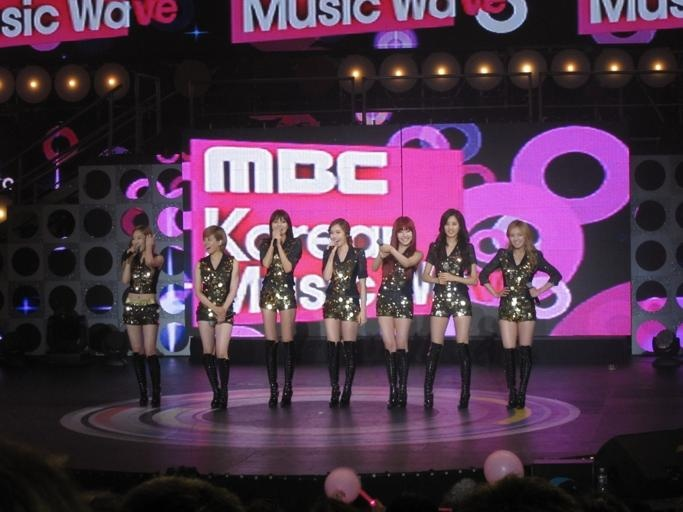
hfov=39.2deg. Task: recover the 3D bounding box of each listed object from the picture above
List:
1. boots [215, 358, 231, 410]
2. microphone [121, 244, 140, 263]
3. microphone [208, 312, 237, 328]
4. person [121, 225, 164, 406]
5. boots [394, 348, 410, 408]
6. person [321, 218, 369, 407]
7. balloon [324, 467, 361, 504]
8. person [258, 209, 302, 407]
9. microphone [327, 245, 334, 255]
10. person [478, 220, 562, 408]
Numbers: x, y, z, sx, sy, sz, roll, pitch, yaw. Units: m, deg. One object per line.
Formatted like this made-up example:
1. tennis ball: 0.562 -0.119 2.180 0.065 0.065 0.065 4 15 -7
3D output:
1. boots: -1.340 1.432 10.755 0.131 0.567 0.122 -1 -7 15
2. microphone: -2.585 -0.024 11.705 0.160 0.090 0.237 30 32 22
3. microphone: -1.355 0.716 10.744 0.271 0.311 0.096 1 0 1
4. person: -2.268 0.694 10.964 0.457 2.042 0.466 0 -6 3
5. boots: 0.677 1.376 10.825 0.129 0.653 0.191 0 -6 3
6. person: 0.026 0.655 10.992 0.493 2.131 0.394 1 -6 -1
7. balloon: 0.020 1.916 7.984 0.299 0.284 0.351 1 -7 -7
8. person: -0.723 0.599 11.070 0.480 2.260 0.411 1 -6 1
9. microphone: -0.133 -0.069 10.989 0.041 0.035 0.149 4 -39 -18
10. person: 1.985 0.664 10.802 0.847 2.096 0.408 -1 -6 12
